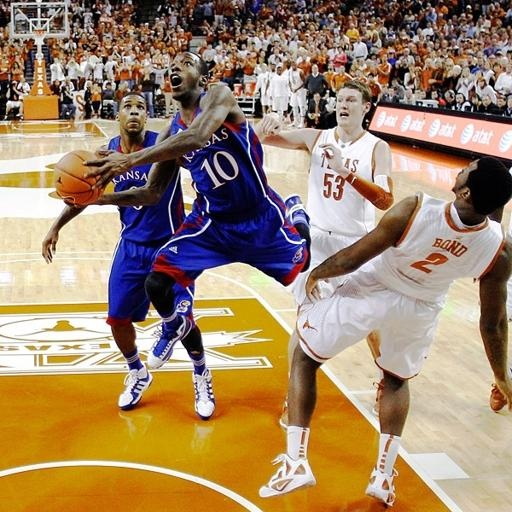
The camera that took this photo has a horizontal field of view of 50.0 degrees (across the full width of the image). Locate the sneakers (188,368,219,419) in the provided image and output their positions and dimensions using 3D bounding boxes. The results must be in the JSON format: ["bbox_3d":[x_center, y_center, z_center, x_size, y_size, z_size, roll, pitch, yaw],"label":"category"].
[{"bbox_3d":[-0.276,0.753,2.976,0.094,0.122,0.282,-7,44,-1],"label":"sneakers"}]

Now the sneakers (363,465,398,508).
[{"bbox_3d":[0.516,0.896,2.105,0.081,0.118,0.210,14,-18,35],"label":"sneakers"}]

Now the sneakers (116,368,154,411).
[{"bbox_3d":[-0.660,0.723,3.094,0.106,0.125,0.301,-1,35,31],"label":"sneakers"}]

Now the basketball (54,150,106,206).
[{"bbox_3d":[-0.765,-0.327,2.376,0.196,0.250,0.323,-1,13,-19],"label":"basketball"}]
